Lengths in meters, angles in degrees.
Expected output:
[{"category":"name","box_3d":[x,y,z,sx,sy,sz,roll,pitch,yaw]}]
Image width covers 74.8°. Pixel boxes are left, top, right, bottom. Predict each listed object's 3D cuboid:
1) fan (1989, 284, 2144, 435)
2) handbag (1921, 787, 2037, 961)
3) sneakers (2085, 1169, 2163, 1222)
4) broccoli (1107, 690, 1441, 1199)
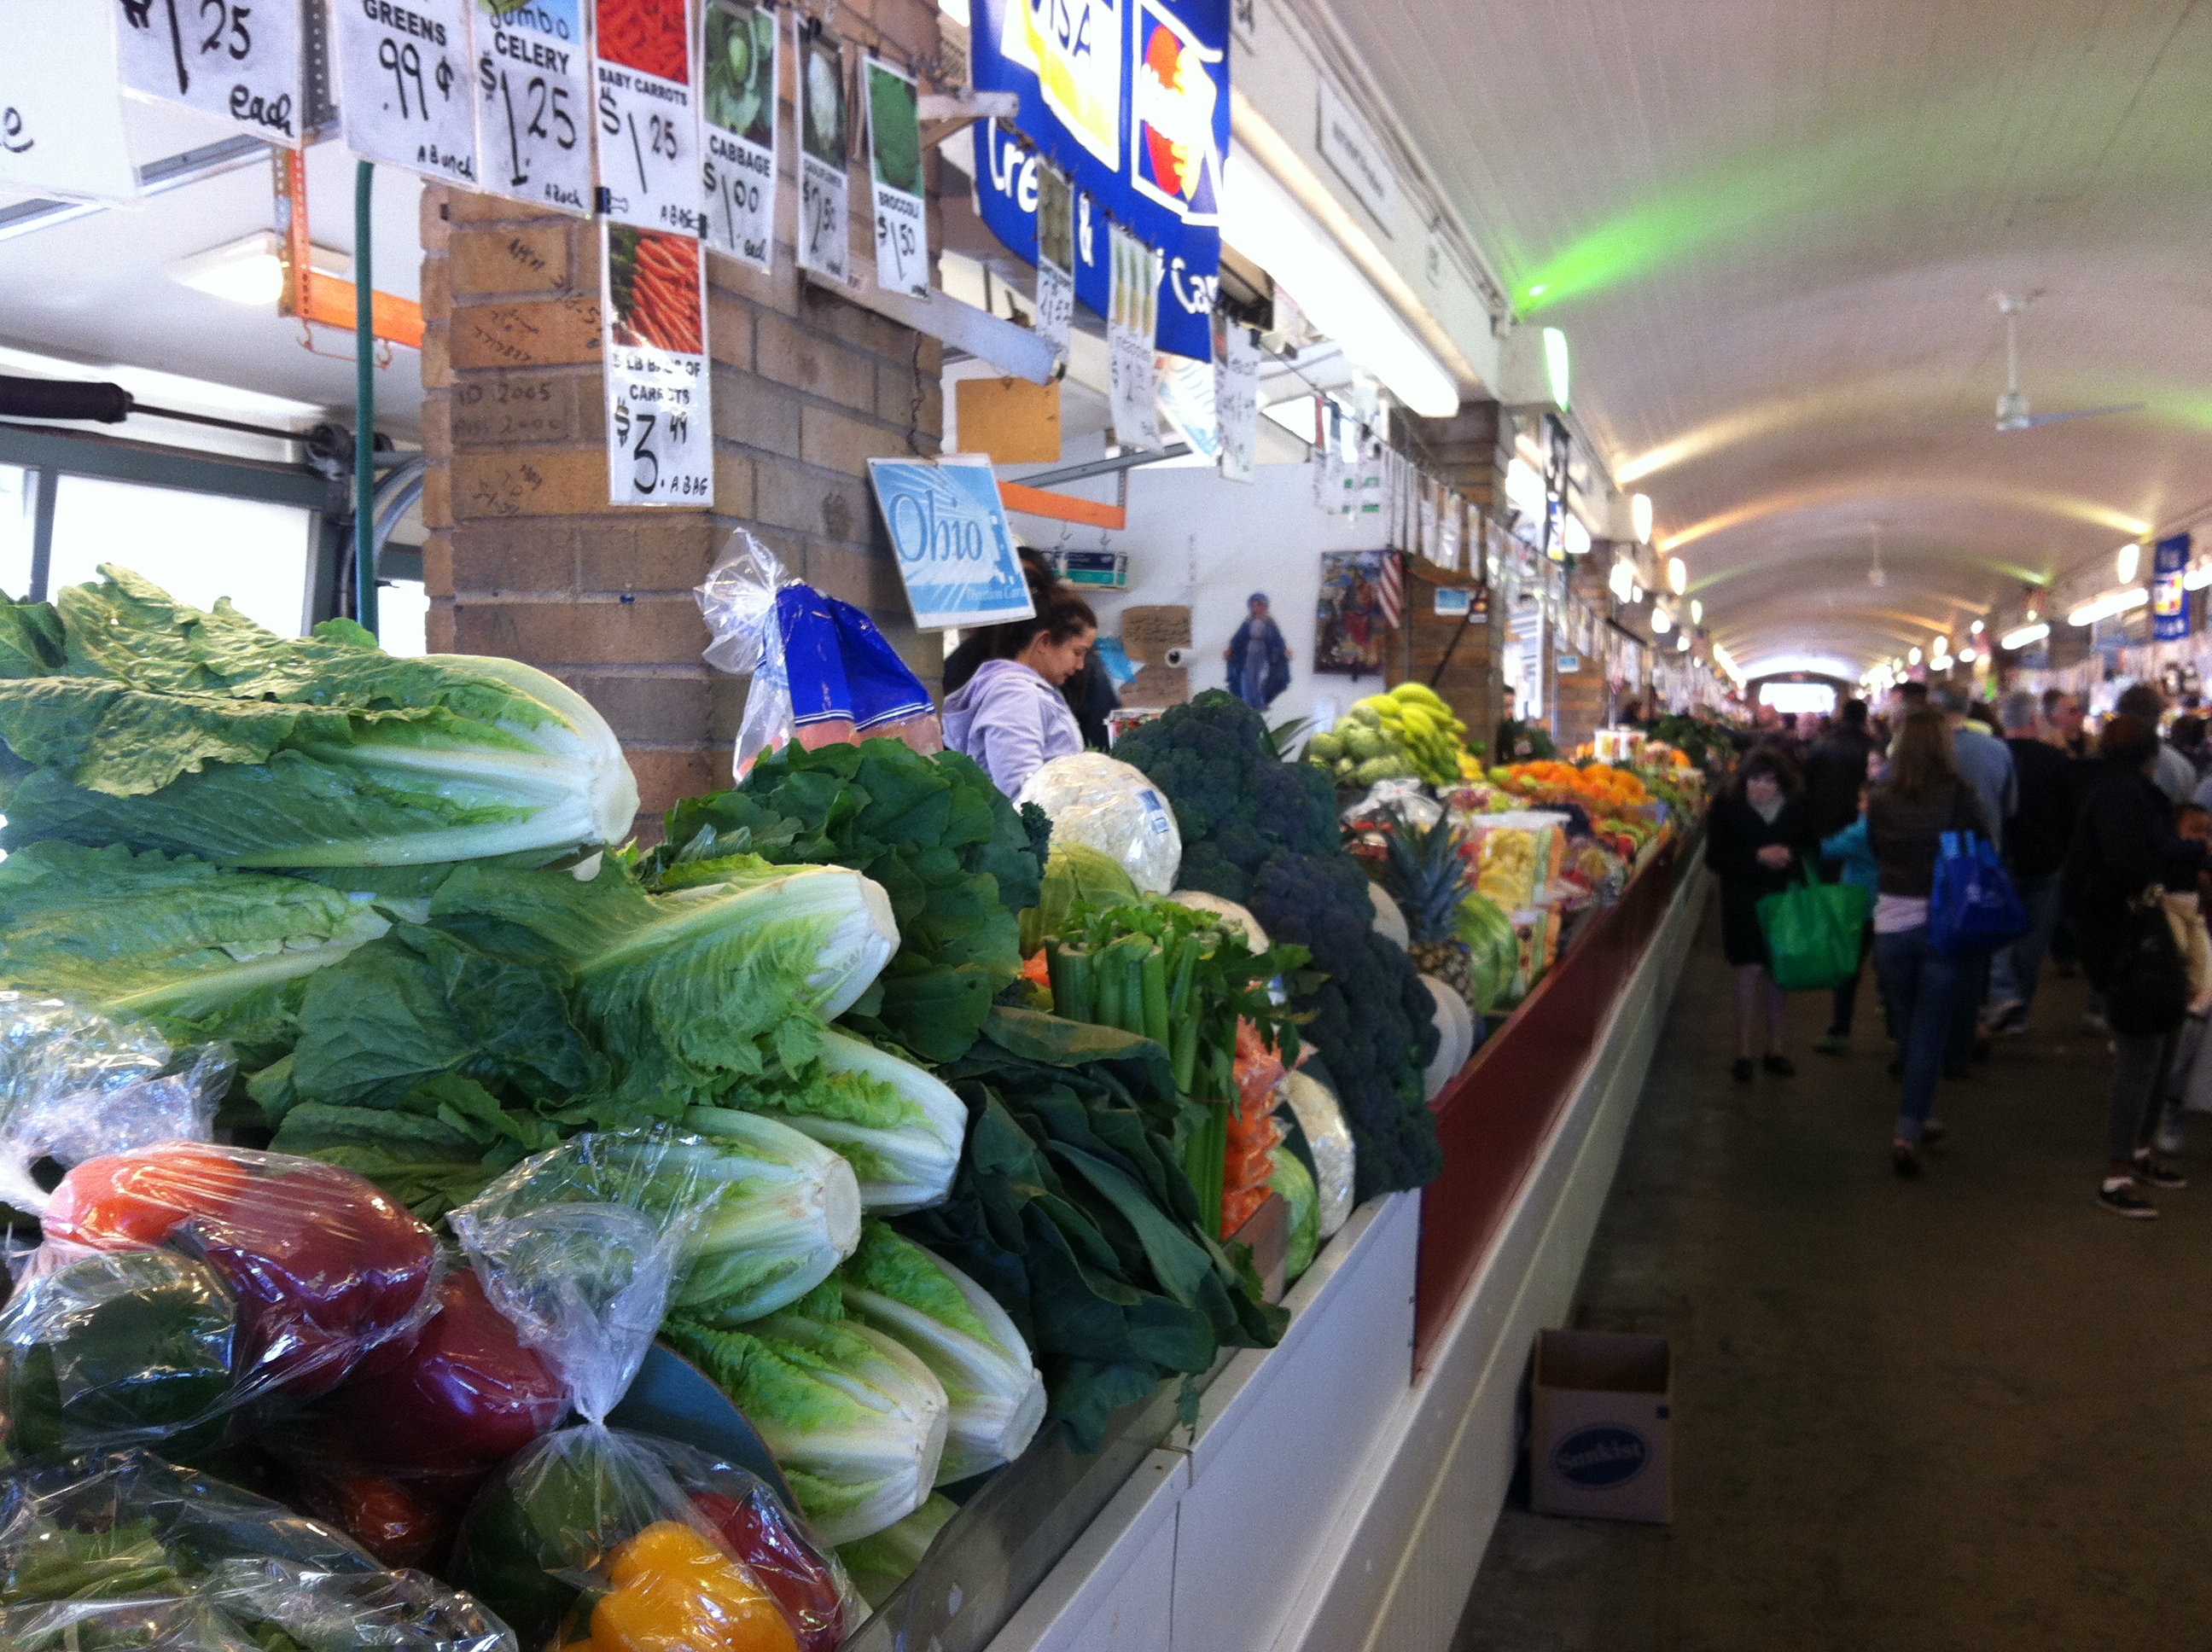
[{"category":"fan","box_3d":[10.242,-4.780,15.628,1.244,0.852,5.958,3,6,34]},{"category":"handbag","box_3d":[3.554,0.283,5.945,0.333,0.518,0.205,2,5,32]},{"category":"sneakers","box_3d":[4.005,1.439,5.729,0.125,0.127,0.284,-2,-8,6]},{"category":"broccoli","box_3d":[0.356,0.184,2.655,0.448,0.853,0.628,-3,5,-29]}]
